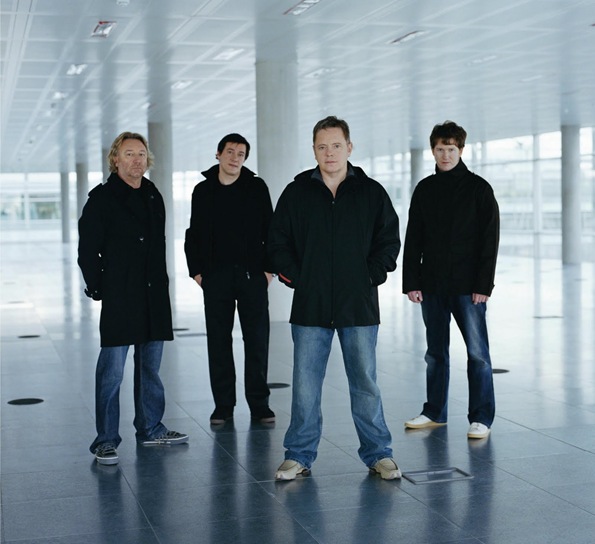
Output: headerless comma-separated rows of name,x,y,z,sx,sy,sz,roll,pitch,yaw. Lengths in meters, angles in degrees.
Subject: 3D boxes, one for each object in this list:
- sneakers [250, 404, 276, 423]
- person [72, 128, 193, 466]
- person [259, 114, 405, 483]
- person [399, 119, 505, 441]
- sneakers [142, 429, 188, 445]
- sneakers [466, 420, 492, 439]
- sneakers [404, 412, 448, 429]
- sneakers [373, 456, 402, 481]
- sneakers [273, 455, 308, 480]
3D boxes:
sneakers,-0.253,1.109,4.819,0.083,0.099,0.226,2,-8,-24
person,-1.119,0.131,4.105,0.366,2.113,0.701,1,2,42
person,0.222,0.140,3.599,0.746,2.067,0.256,-1,1,1
person,1.103,0.031,4.500,0.702,2.223,0.470,0,2,23
sneakers,-0.912,1.148,4.284,0.299,0.123,0.118,-3,4,-4
sneakers,1.271,1.093,4.335,0.150,0.092,0.212,0,2,17
sneakers,0.965,1.091,4.620,0.290,0.097,0.112,2,-6,-19
sneakers,0.524,1.124,3.582,0.071,0.084,0.181,-1,7,-19
sneakers,-0.037,1.137,3.596,0.079,0.093,0.215,-8,-13,36
